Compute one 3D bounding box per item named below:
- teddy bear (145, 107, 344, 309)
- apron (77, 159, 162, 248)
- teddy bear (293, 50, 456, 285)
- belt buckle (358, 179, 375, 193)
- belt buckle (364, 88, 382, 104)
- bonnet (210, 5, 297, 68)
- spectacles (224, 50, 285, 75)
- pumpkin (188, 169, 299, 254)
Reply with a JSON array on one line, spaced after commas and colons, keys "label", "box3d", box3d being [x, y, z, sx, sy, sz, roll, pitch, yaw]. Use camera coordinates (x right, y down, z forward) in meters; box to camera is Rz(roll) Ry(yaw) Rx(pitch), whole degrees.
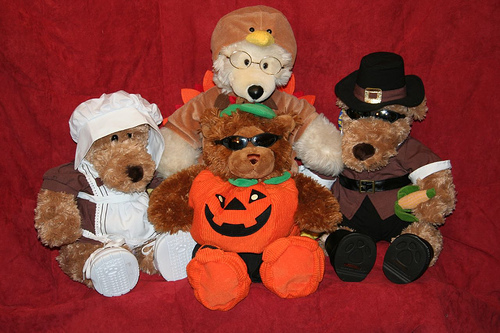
[{"label": "teddy bear", "box3d": [-0.019, 0.129, 1.826, 0.712, 0.651, 0.434, -1, 23, 1]}, {"label": "apron", "box3d": [-0.490, 0.136, 1.871, 0.207, 0.212, 0.343, -15, 30, -36]}, {"label": "teddy bear", "box3d": [0.470, 0.007, 1.942, 0.556, 0.758, 0.547, 6, 23, 25]}, {"label": "belt buckle", "box3d": [0.448, 0.076, 1.952, 0.049, 0.048, 0.015, 2, 7, 15]}, {"label": "belt buckle", "box3d": [0.457, -0.263, 1.887, 0.064, 0.049, 0.041, 14, 48, 8]}, {"label": "bonnet", "box3d": [0.019, -0.529, 1.933, 0.266, 0.164, 0.260, 9, -2, -27]}, {"label": "spectacles", "box3d": [0.019, -0.390, 1.915, 0.222, 0.061, 0.056, 6, 48, 1]}, {"label": "pumpkin", "box3d": [-0.047, 0.119, 1.905, 0.374, 0.247, 0.406, -9, 23, -14]}]
